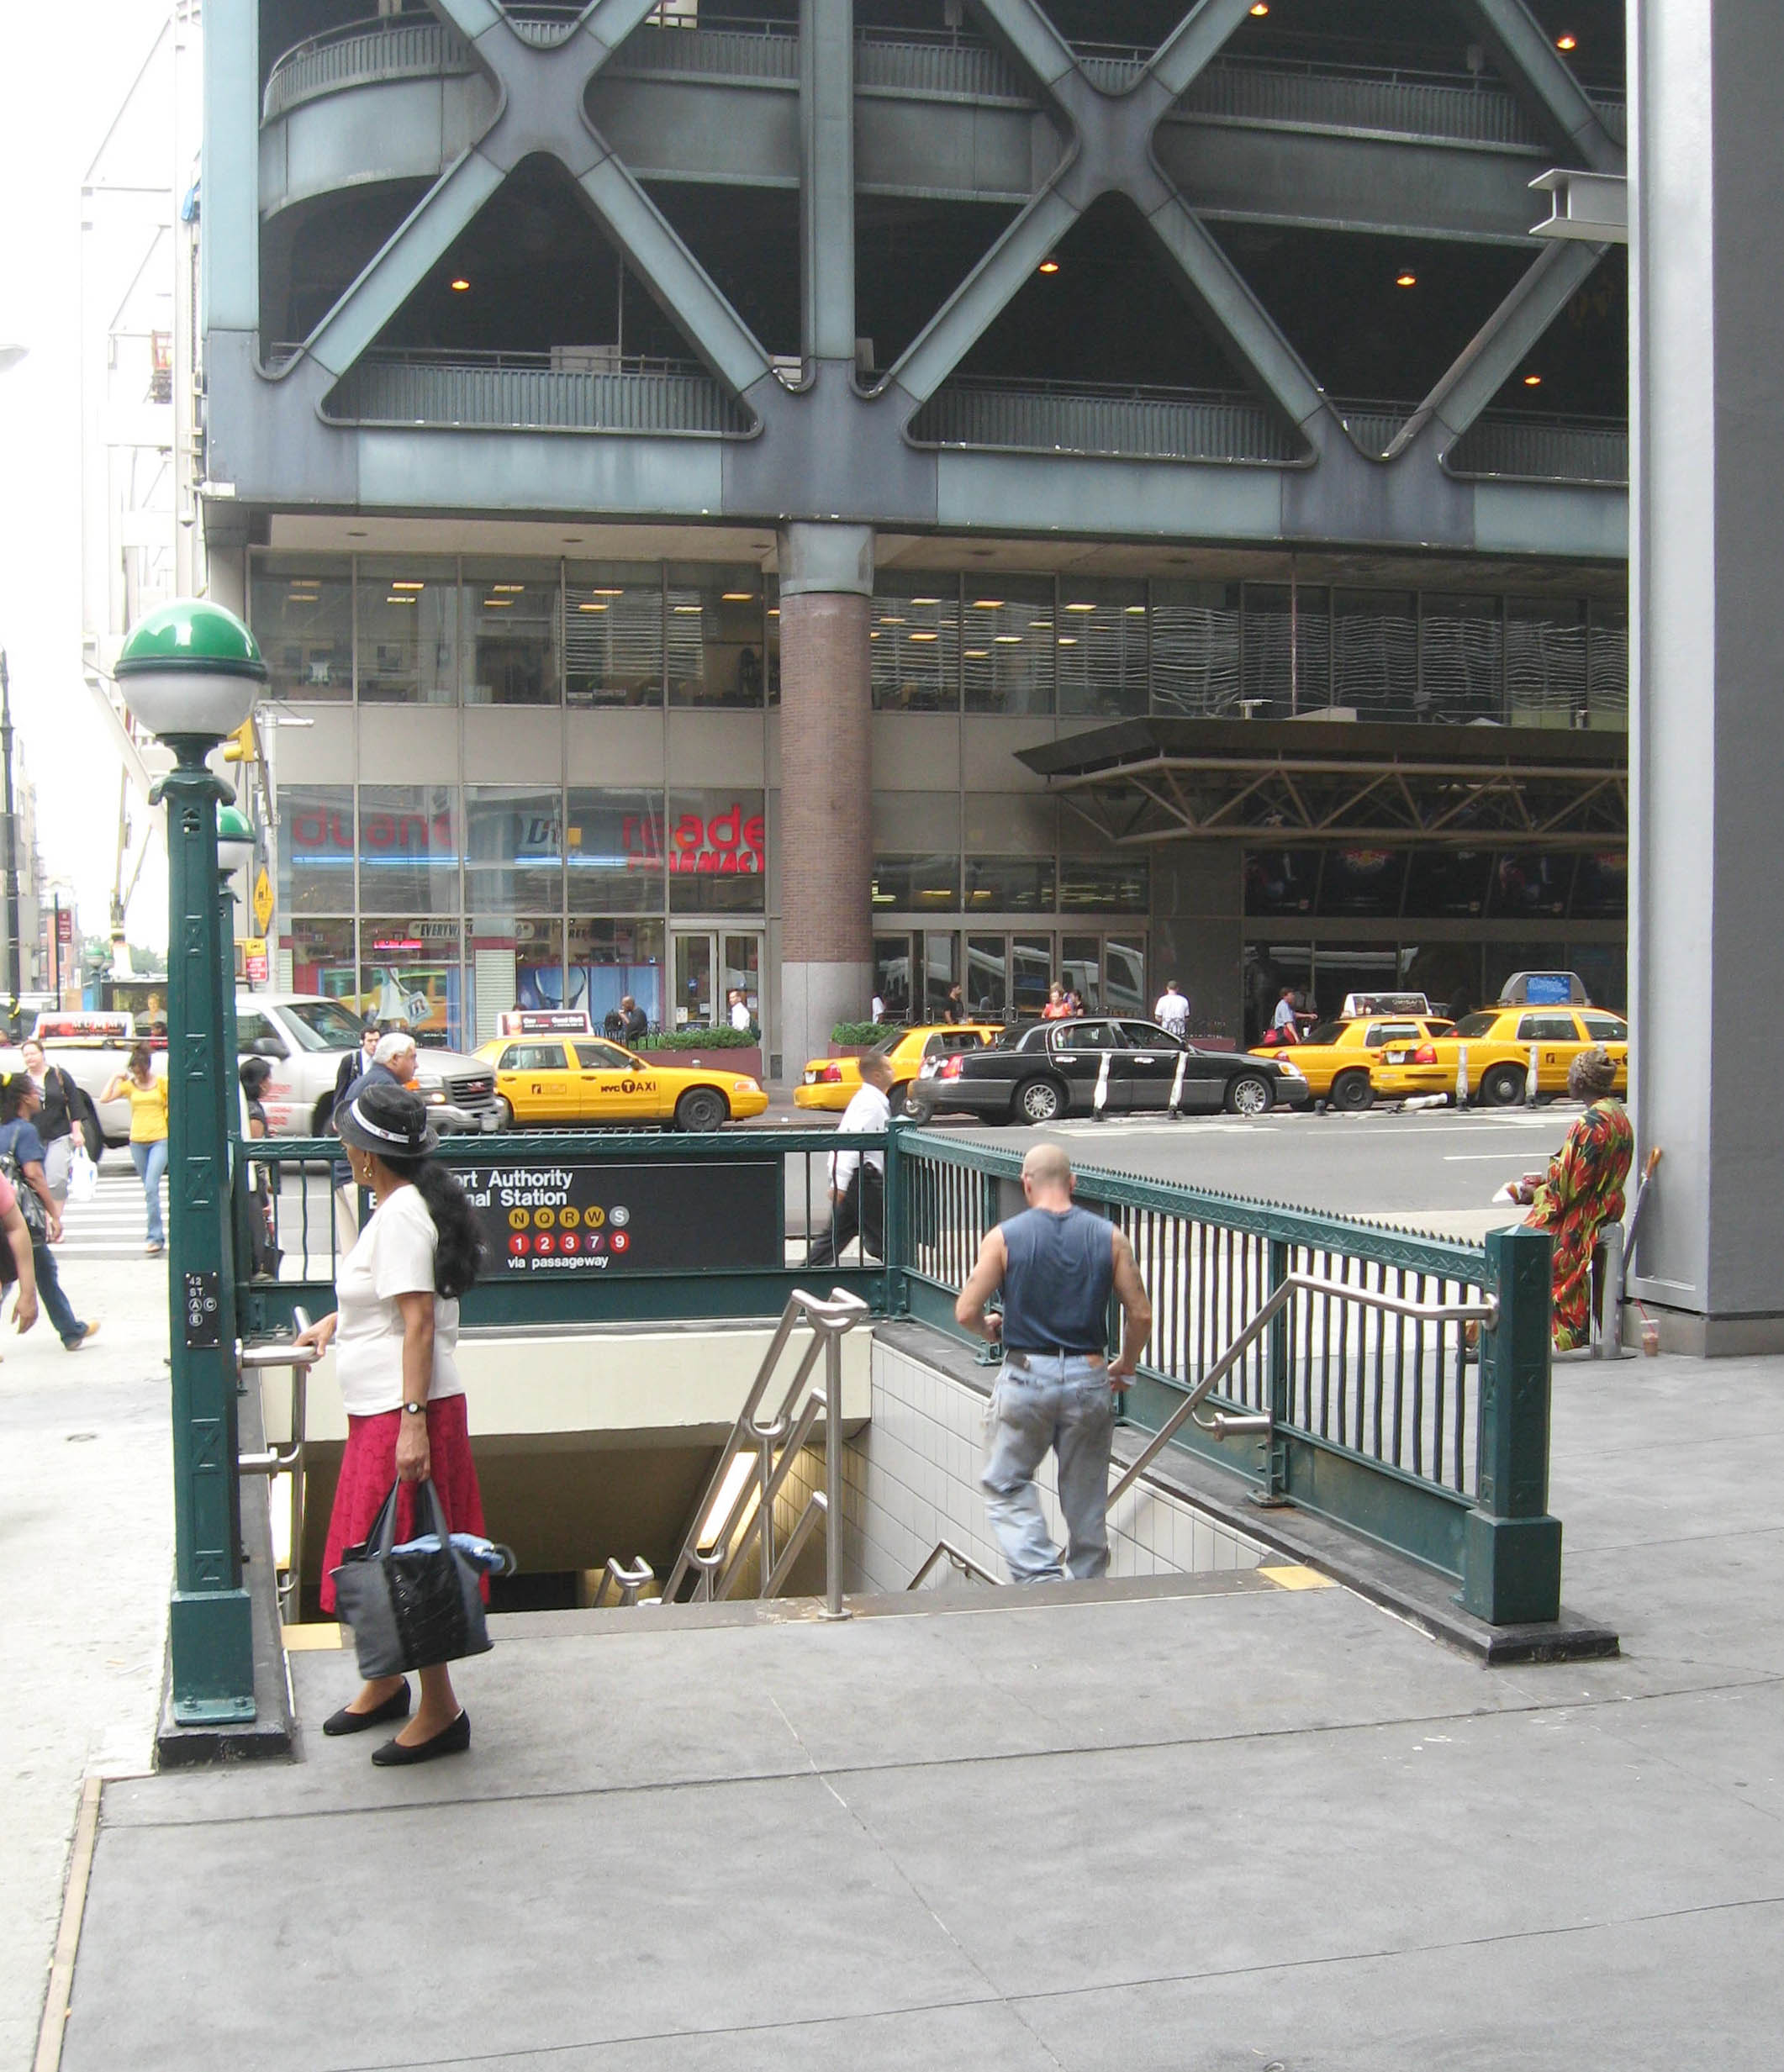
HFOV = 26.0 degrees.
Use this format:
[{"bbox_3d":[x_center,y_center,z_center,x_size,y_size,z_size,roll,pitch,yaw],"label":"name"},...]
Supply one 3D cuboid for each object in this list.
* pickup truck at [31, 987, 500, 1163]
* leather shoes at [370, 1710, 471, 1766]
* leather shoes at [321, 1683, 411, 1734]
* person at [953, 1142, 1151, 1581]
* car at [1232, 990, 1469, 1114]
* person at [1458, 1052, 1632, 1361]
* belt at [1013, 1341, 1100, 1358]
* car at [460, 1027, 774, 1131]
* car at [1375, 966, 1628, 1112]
[{"bbox_3d":[-5.444,0.524,32.350,4.077,1.515,4.253,1,5,-34],"label":"pickup truck"},{"bbox_3d":[-1.476,2.261,12.089,0.321,0.139,0.115,1,-4,-11],"label":"leather shoes"},{"bbox_3d":[-1.667,2.206,12.368,0.318,0.138,0.112,-1,-3,-17],"label":"leather shoes"},{"bbox_3d":[0.626,1.314,14.736,0.614,1.730,0.859,3,5,38],"label":"person"},{"bbox_3d":[4.828,0.316,38.280,2.293,0.858,1.081,-4,5,-12],"label":"car"},{"bbox_3d":[3.187,0.822,18.044,0.563,1.447,1.138,0,4,10],"label":"person"},{"bbox_3d":[0.621,1.234,14.619,0.315,0.076,0.089,0,5,4],"label":"belt"},{"bbox_3d":[-2.538,0.567,35.488,2.844,0.958,0.714,-5,6,-41],"label":"car"},{"bbox_3d":[5.962,0.137,38.510,2.504,1.225,1.179,-5,6,-20],"label":"car"}]
